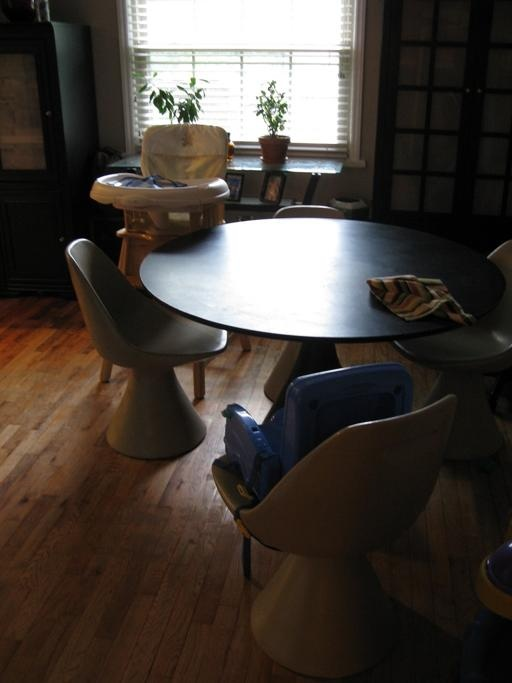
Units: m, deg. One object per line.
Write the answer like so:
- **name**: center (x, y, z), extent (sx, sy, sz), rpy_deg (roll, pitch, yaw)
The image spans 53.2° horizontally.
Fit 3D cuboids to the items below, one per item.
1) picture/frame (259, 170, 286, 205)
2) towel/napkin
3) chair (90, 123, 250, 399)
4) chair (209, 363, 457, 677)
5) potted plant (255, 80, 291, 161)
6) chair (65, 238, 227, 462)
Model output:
- **picture/frame**: center (0.104, -0.993, 3.283), extent (0.168, 0.191, 0.158), rpy_deg (8, 29, 13)
- **towel/napkin**: center (0.415, -0.112, 1.310), extent (0.233, 0.064, 0.251), rpy_deg (2, 31, 2)
- **chair**: center (-0.456, -0.459, 2.802), extent (0.671, 1.348, 0.751), rpy_deg (13, 23, 31)
- **chair**: center (0.157, 0.398, 1.015), extent (0.342, 0.553, 0.388), rpy_deg (-8, 32, -10)
- **potted plant**: center (0.113, -1.529, 3.538), extent (0.231, 0.478, 0.665), rpy_deg (1, 29, 1)
- **chair**: center (-0.376, 0.005, 1.843), extent (0.470, 0.734, 0.516), rpy_deg (3, 22, 3)
